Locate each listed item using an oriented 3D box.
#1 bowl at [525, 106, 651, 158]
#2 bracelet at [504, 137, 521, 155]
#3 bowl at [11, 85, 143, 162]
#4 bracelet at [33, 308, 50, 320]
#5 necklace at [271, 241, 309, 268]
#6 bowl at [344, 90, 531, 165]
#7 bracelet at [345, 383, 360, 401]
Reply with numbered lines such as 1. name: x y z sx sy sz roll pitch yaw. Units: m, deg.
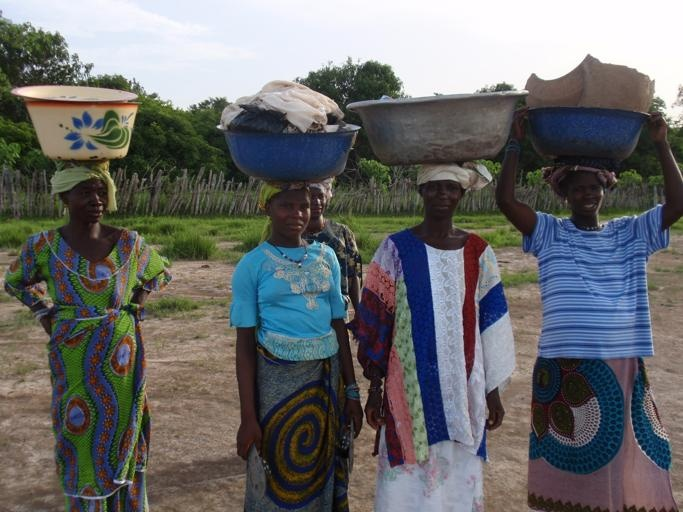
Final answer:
1. bowl: 1.543 -0.794 5.465 0.788 0.281 0.792 2 5 0
2. bracelet: 1.089 -0.706 5.373 0.081 0.111 0.113 -2 -2 5
3. bowl: -1.702 -0.901 5.467 0.594 0.349 0.616 0 18 0
4. bracelet: -1.965 0.374 5.516 0.081 0.052 0.082 -32 -9 30
5. necklace: -0.295 -0.005 5.165 0.157 0.127 0.018 -22 -16 -45
6. bowl: 0.571 -0.766 5.033 1.014 0.446 0.364 2 7 11
7. bracelet: 0.089 0.860 5.254 0.078 0.100 0.100 -5 31 -25
